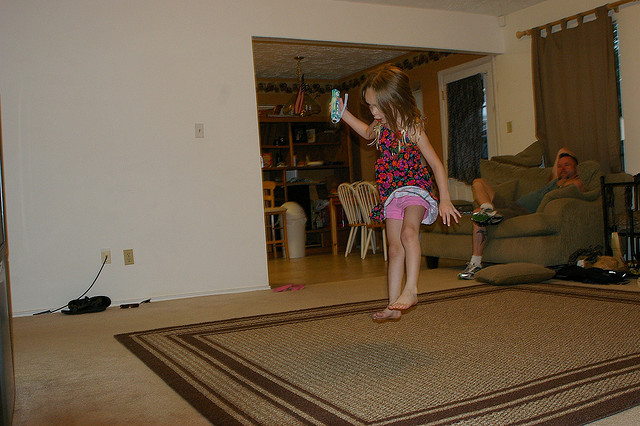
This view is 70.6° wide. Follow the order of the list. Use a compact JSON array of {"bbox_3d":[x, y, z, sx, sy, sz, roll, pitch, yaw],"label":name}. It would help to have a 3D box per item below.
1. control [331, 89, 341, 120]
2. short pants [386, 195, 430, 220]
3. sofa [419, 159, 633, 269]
[{"bbox_3d":[0.097,-0.656,2.714,0.057,0.197,0.112,-3,3,3],"label":"control"},{"bbox_3d":[0.485,0.006,2.554,0.234,0.129,0.149,-9,33,29],"label":"short pants"},{"bbox_3d":[2.158,0.115,4.952,1.336,1.520,1.880,3,-4,-33],"label":"sofa"}]
